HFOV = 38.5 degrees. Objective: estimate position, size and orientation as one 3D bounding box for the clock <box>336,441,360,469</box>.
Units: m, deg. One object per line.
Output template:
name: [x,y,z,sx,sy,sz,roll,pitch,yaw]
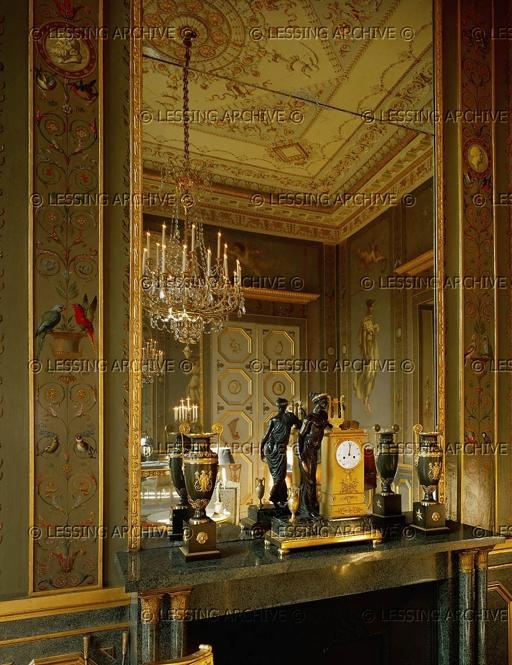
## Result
clock: [0.379,0.511,3.036,0.117,0.109,0.012,5,-20,-24]
